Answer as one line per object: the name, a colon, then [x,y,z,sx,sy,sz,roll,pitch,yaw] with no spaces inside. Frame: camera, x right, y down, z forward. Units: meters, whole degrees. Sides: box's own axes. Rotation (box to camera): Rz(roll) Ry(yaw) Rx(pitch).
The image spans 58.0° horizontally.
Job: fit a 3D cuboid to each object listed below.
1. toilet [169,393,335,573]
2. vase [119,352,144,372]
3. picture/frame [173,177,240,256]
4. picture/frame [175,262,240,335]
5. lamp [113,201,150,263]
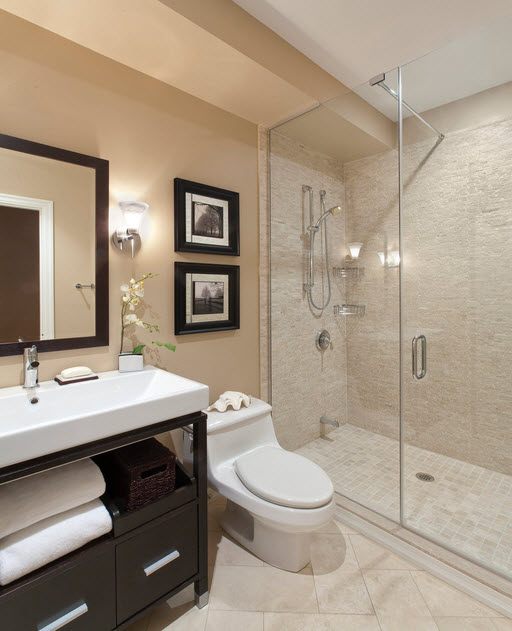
toilet: [0.010,0.769,2.170,0.753,0.544,0.442,13,15,40]
vase: [-0.547,0.208,2.035,0.125,0.112,0.071,1,-1,-22]
picture/frame: [-0.273,-0.518,2.415,0.031,0.397,0.433,2,2,43]
picture/frame: [-0.273,-0.095,2.442,0.376,0.369,0.028,-1,2,-44]
lamp: [-0.571,-0.379,2.073,0.158,0.253,0.141,-5,11,-21]
